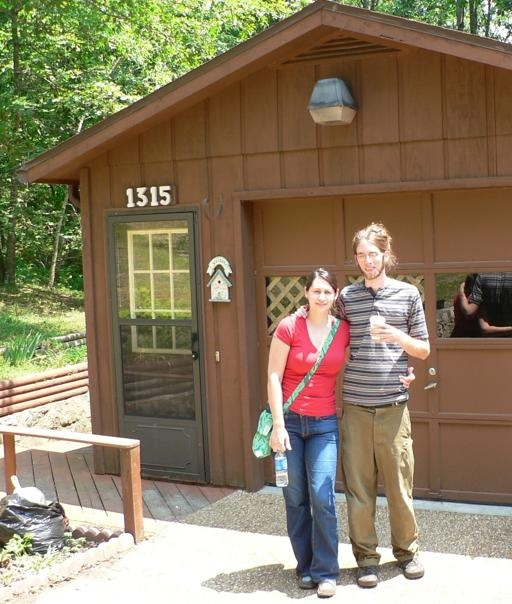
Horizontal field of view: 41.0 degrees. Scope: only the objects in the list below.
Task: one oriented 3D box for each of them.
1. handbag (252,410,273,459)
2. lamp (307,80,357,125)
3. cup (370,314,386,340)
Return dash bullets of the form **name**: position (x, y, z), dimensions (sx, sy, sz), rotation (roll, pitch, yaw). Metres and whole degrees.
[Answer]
- **handbag**: position (0.046, 0.727, 3.742), dimensions (0.093, 0.247, 0.154), rotation (7, -4, -17)
- **lamp**: position (0.545, -1.453, 4.947), dimensions (0.274, 0.272, 0.306), rotation (-2, 2, 32)
- **cup**: position (0.606, 0.135, 3.418), dimensions (0.070, 0.102, 0.051), rotation (-3, 1, 12)
